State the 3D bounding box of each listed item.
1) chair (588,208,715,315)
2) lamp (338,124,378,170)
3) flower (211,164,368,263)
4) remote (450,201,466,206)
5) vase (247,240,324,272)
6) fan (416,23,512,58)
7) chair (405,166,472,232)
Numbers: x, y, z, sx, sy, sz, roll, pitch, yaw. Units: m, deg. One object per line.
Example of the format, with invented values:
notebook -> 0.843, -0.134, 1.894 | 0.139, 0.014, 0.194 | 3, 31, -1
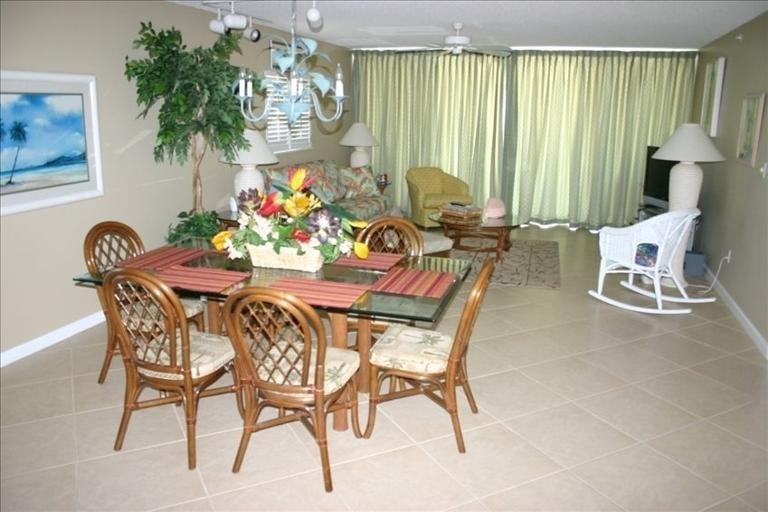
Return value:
chair -> 2.935, -0.015, 5.645 | 1.076, 1.086, 0.968 | -15, 23, -33
lamp -> -0.395, -1.803, 8.476 | 0.845, 0.873, 0.764 | 2, 16, 5
flower -> -0.661, -0.194, 3.569 | 0.907, 0.491, 0.770 | 7, 25, 8
remote -> 1.013, -0.719, 7.026 | 0.186, 0.054, 0.173 | 2, 11, 10
vase -> -0.689, 0.007, 3.604 | 0.402, 0.115, 0.248 | 2, 11, 7
fan -> 0.928, -2.536, 6.036 | 0.855, 0.409, 1.551 | -2, 17, -1
chair -> 0.797, -0.943, 8.367 | 1.180, 1.061, 1.054 | -8, 18, -27
